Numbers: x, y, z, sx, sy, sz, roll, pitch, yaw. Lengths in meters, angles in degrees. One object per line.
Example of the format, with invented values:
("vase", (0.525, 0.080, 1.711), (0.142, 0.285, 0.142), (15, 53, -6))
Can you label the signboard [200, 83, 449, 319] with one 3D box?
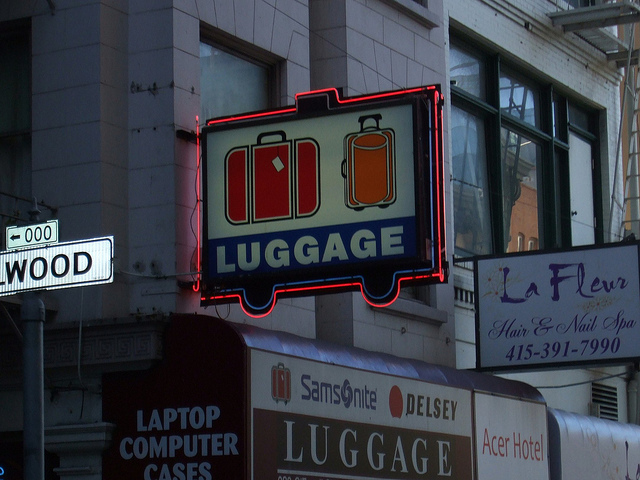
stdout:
("signboard", (-0.113, -0.656, 28.191), (3.778, 4.058, 0.606), (-6, -31, 6))
